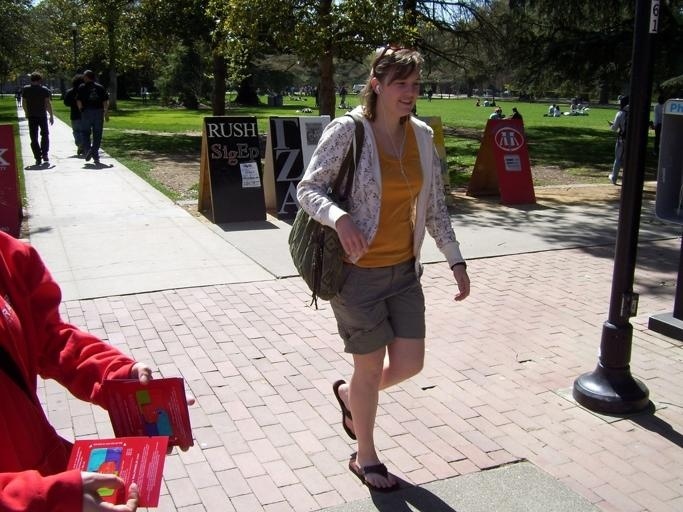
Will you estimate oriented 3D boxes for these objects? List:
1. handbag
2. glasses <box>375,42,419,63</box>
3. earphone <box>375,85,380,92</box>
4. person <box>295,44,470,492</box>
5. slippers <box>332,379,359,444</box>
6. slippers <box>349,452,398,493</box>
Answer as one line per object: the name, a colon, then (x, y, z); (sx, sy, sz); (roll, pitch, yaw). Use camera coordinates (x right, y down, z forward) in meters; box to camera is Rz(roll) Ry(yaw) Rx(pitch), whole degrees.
handbag: (-0.161, 0.020, 2.974); (0.193, 0.570, 0.404); (-11, 18, -39)
glasses: (0.319, -1.129, 2.922); (0.247, 0.110, 0.186); (2, 15, 6)
earphone: (0.206, -0.931, 2.914); (0.023, 0.030, 0.028); (12, 44, -7)
person: (0.246, 0.105, 3.036); (0.950, 2.521, 0.533); (-7, 16, -27)
slippers: (0.020, 1.049, 3.516); (0.103, 0.394, 0.160); (-19, -3, 27)
slippers: (0.177, 1.313, 3.178); (0.123, 0.077, 0.314); (-5, 8, -27)
